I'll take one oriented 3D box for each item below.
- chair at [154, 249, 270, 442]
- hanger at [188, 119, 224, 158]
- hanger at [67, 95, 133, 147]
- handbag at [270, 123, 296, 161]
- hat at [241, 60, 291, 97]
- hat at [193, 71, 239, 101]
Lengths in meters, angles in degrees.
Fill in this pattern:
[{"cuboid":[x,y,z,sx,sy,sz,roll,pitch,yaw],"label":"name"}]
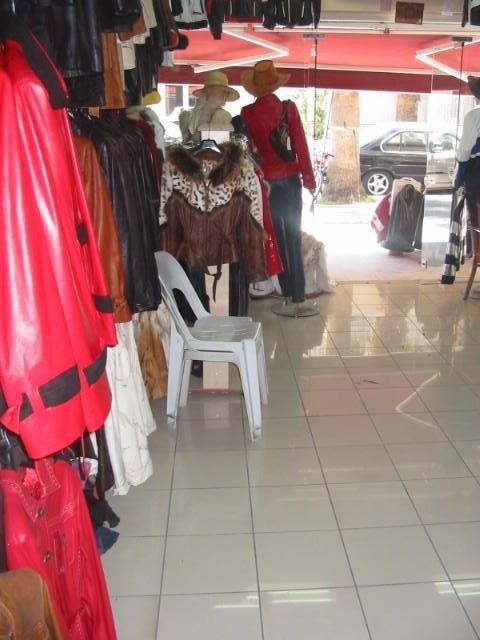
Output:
[{"cuboid":[-0.063,0.085,2.911,0.672,1.187,0.717,1,19,6],"label":"chair"},{"cuboid":[-0.172,-0.880,2.569,0.153,0.077,0.247,0,42,-2],"label":"hanger"},{"cuboid":[-0.523,-0.736,1.867,0.140,0.070,0.233,7,63,-13],"label":"hanger"},{"cuboid":[0.321,-1.340,3.793,0.080,0.187,0.181,-28,-2,-17],"label":"handbag"},{"cuboid":[0.181,-1.802,3.803,0.359,0.253,0.167,-1,20,6],"label":"hat"},{"cuboid":[-0.142,-1.793,3.964,0.286,0.179,0.317,10,15,25],"label":"hat"}]
